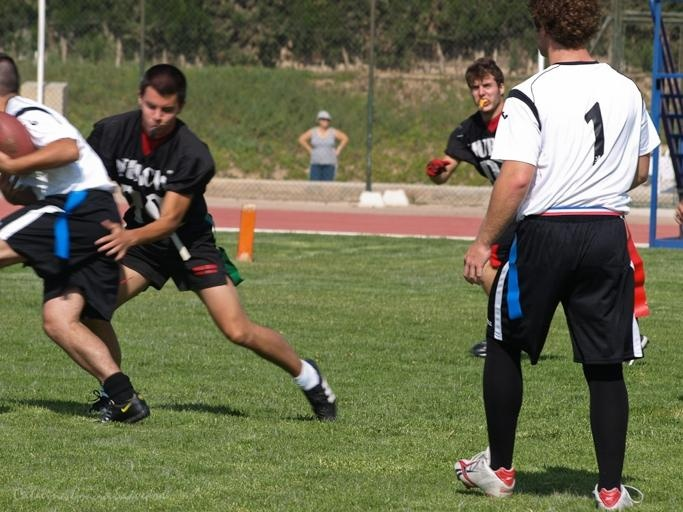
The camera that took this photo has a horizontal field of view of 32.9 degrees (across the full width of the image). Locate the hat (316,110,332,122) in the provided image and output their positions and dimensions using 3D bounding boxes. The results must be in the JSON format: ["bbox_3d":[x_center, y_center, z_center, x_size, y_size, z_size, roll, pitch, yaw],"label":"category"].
[{"bbox_3d":[-0.324,-2.547,20.628,0.243,0.170,0.329,4,-1,-12],"label":"hat"}]

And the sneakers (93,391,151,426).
[{"bbox_3d":[-1.412,0.963,7.304,0.401,0.191,0.148,-3,39,13],"label":"sneakers"}]

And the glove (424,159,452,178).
[{"bbox_3d":[0.699,-0.636,8.461,0.153,0.067,0.119,-27,23,53],"label":"glove"}]

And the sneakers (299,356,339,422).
[{"bbox_3d":[-0.122,0.889,7.530,0.155,0.455,0.197,-20,14,29],"label":"sneakers"}]

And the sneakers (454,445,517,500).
[{"bbox_3d":[0.781,1.174,6.400,0.171,0.256,0.462,2,7,-32],"label":"sneakers"}]
